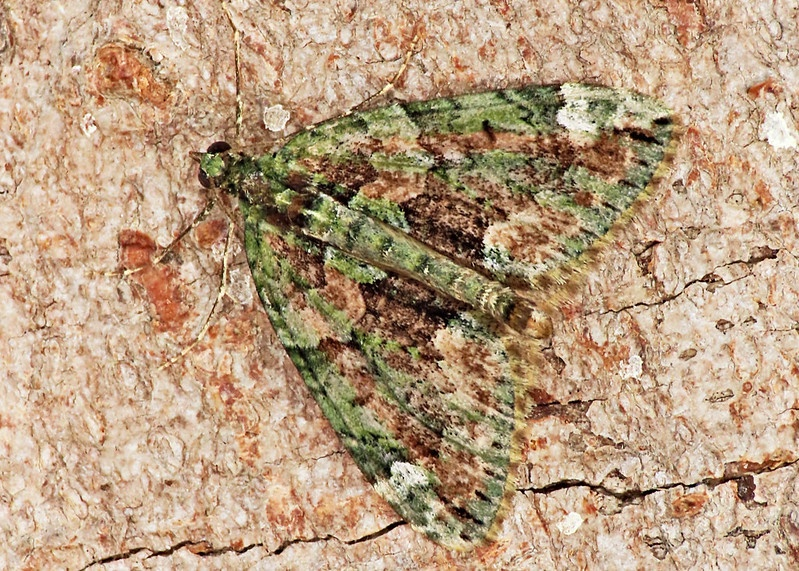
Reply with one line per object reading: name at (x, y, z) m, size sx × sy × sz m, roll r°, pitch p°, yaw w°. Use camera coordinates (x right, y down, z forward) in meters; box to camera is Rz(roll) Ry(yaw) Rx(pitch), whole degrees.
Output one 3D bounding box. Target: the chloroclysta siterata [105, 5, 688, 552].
chloroclysta siterata at (0.265, -0.282, 6.815) m, size 2.269 × 0.591 × 2.524 m, roll -37°, pitch 87°, yaw -3°
